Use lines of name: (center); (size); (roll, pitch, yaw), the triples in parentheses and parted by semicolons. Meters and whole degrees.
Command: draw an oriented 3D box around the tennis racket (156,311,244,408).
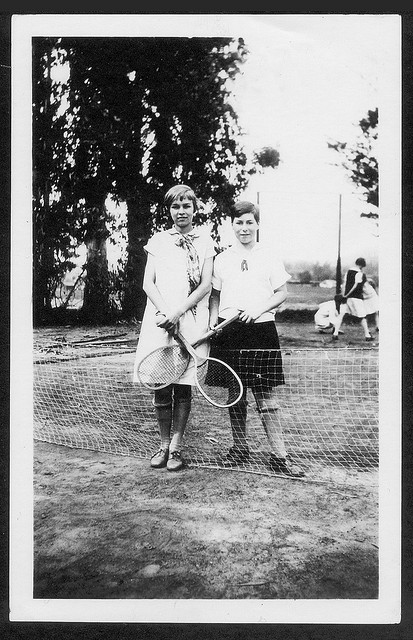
tennis racket: (0.012, 0.212, 2.807); (0.293, 0.328, 0.160); (1, 3, 3)

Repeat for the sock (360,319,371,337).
sock: (0.690, 0.034, 2.854); (0.044, 0.076, 0.007); (0, 3, -7)

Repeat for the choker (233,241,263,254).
choker: (0.180, -0.314, 2.855); (0.126, 0.054, 0.025); (1, 3, -3)

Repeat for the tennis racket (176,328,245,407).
tennis racket: (0.017, 0.226, 2.853); (0.130, 0.470, 0.022); (-34, -10, -10)
